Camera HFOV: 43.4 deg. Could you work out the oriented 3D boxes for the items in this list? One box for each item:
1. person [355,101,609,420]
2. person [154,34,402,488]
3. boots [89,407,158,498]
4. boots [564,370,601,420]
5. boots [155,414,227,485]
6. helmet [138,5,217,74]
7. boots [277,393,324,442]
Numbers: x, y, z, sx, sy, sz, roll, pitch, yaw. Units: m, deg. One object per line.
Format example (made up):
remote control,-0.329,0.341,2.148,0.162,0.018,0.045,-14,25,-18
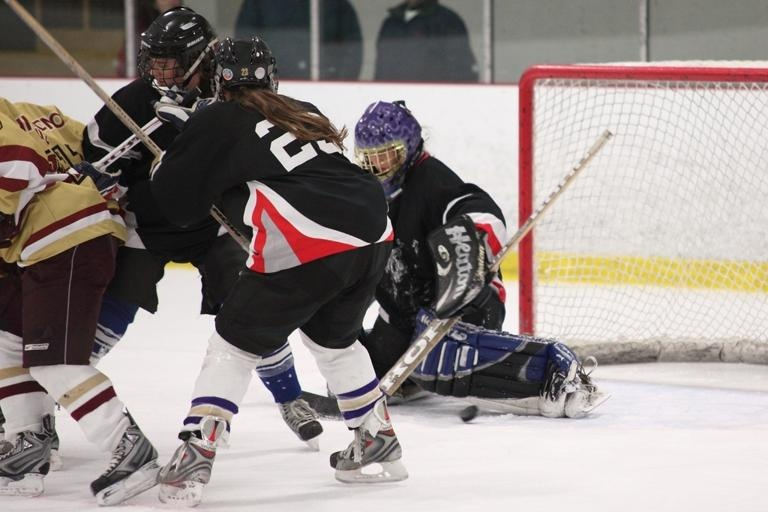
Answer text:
person,0.518,0.058,4.596,0.967,1.419,1.609,-15,1,-18
person,-0.383,0.044,3.509,0.864,1.601,0.657,-4,18,-4
boots,-0.900,0.732,3.425,0.189,0.281,0.223,6,19,25
boots,0.879,0.603,4.178,0.099,0.124,0.278,-2,18,39
boots,-0.720,0.702,3.526,0.121,0.228,0.364,25,-18,-32
helmet,-0.829,-0.844,3.806,0.314,0.249,0.228,-11,20,-25
boots,-0.310,0.656,4.005,0.133,0.083,0.243,-9,36,-10
